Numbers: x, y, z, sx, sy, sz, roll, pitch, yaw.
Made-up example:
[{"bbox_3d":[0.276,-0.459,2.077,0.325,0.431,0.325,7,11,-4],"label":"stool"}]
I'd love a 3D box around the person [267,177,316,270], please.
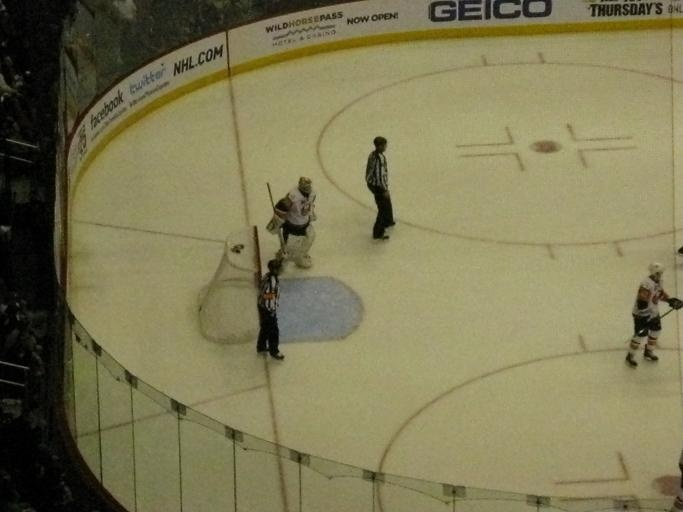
[{"bbox_3d":[-0.704,-0.632,25.778,0.905,1.527,0.988,14,19,25],"label":"person"}]
